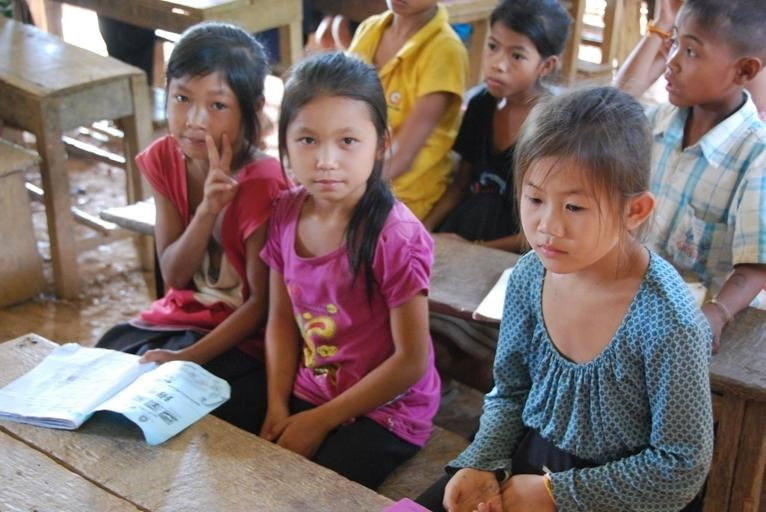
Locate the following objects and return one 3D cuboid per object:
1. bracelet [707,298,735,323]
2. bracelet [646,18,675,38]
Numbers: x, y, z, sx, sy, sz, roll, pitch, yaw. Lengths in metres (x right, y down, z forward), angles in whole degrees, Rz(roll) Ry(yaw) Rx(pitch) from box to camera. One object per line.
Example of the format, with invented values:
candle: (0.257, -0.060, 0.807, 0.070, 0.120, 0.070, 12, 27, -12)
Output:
bracelet: (1.027, 0.162, 2.027, 0.019, 0.067, 0.061, -37, 36, 5)
bracelet: (1.158, -0.941, 2.769, 0.088, 0.034, 0.076, 9, -5, 12)
